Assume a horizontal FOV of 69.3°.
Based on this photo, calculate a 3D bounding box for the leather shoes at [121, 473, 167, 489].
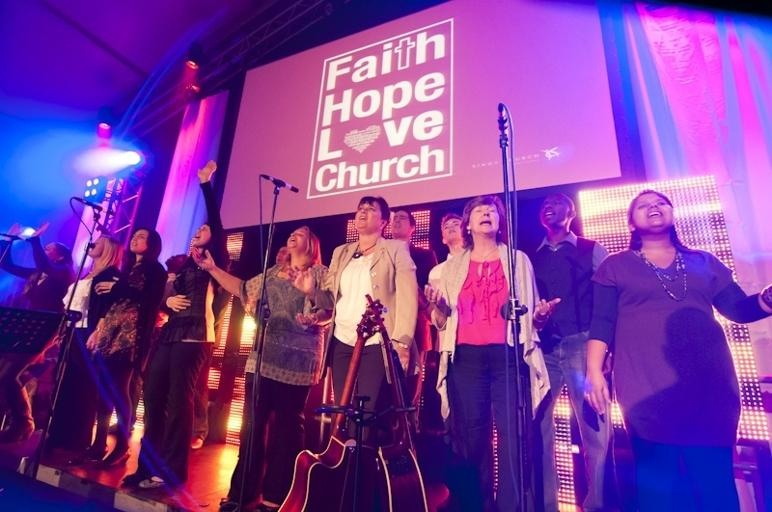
[{"bbox_3d":[-2.487,2.306,5.709,0.361,0.162,0.188,2,-16,-3],"label":"leather shoes"}]
